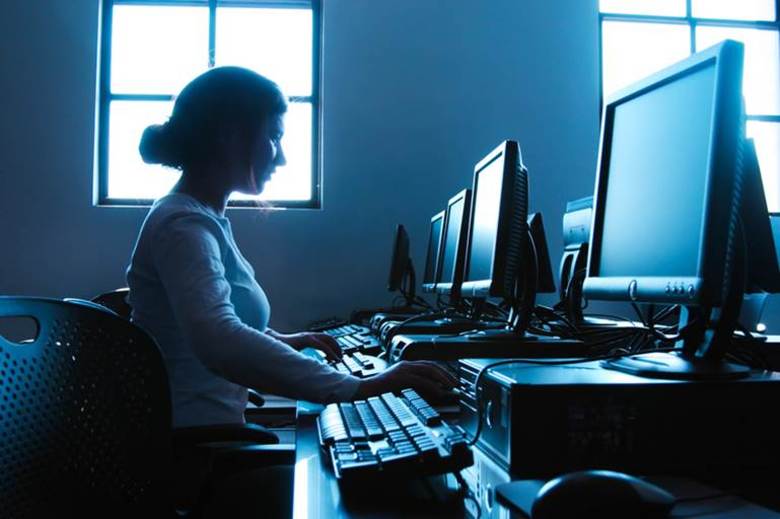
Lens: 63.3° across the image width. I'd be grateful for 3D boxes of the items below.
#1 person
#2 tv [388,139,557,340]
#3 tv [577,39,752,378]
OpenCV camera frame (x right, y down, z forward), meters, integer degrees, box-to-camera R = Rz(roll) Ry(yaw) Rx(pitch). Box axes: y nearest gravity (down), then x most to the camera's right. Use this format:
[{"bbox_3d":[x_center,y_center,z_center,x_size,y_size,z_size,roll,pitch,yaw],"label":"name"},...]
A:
[{"bbox_3d":[-0.383,-0.002,2.380,1.023,1.707,1.041,-2,2,-20],"label":"person"},{"bbox_3d":[0.303,-0.045,2.279,0.687,0.757,0.809,0,-4,-5],"label":"tv"},{"bbox_3d":[0.640,-0.118,1.481,0.391,0.745,0.298,4,4,30],"label":"tv"}]
